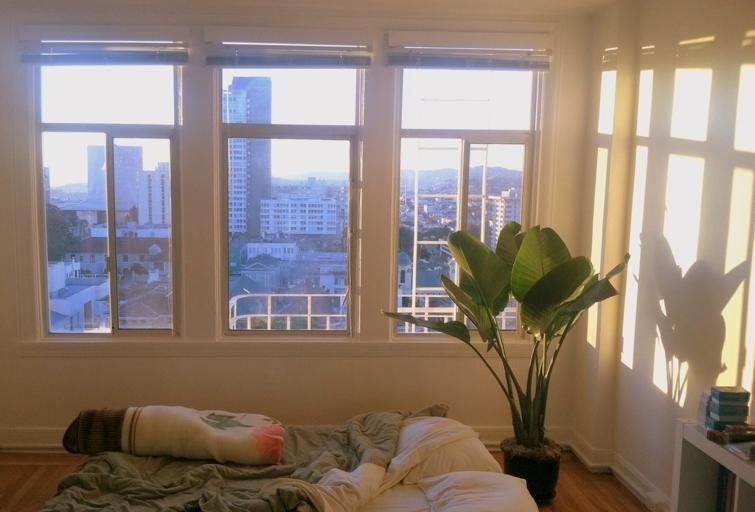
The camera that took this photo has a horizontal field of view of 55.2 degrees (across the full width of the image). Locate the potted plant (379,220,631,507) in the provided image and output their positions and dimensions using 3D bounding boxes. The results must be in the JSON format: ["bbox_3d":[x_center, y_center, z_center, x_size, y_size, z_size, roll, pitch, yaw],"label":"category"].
[{"bbox_3d":[1.229,0.854,5.924,2.052,2.029,2.043,3,-4,-37],"label":"potted plant"}]
